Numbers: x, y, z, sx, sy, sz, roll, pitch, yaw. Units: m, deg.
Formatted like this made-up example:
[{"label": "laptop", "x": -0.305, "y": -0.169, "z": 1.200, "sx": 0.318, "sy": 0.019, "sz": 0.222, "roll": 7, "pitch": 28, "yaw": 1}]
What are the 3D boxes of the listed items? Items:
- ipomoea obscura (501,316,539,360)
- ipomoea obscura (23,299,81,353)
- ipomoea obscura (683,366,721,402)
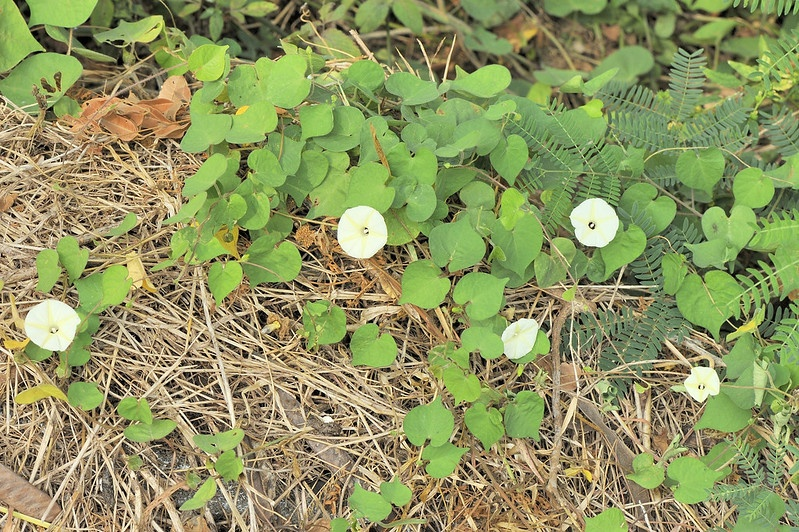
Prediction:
[{"label": "ipomoea obscura", "x": 0.295, "y": 0.172, "z": 1.731, "sx": 0.094, "sy": 0.102, "sz": 0.038, "roll": -27, "pitch": 28, "yaw": -9}, {"label": "ipomoea obscura", "x": -0.845, "y": 0.146, "z": 1.696, "sx": 0.118, "sy": 0.085, "sz": 0.110, "roll": 25, "pitch": 68, "yaw": 12}, {"label": "ipomoea obscura", "x": 0.747, "y": 0.293, "z": 1.724, "sx": 0.093, "sy": 0.103, "sz": 0.028, "roll": -18, "pitch": 26, "yaw": 20}]
